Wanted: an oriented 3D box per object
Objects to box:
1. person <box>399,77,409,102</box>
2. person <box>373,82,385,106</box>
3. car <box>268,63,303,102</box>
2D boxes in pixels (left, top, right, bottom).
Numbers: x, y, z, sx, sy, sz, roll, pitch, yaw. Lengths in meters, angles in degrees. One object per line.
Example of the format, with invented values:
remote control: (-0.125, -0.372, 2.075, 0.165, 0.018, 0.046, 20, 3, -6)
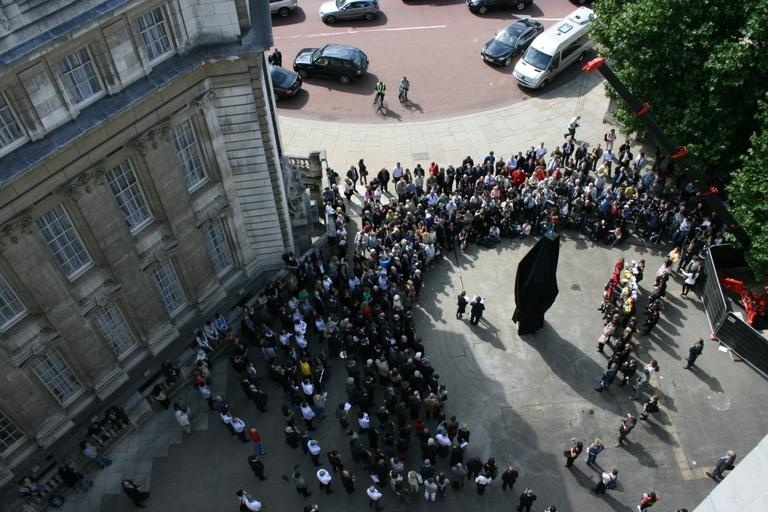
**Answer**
person: (1.644, -12.260, 43.335, 0.801, 1.915, 1.113, 2, 17, 0)
person: (-0.299, -11.894, 42.665, 0.822, 1.860, 1.077, 2, -2, -5)
car: (-7.247, -12.773, 43.642, 2.125, 2.216, 1.942, -6, 38, -8)
